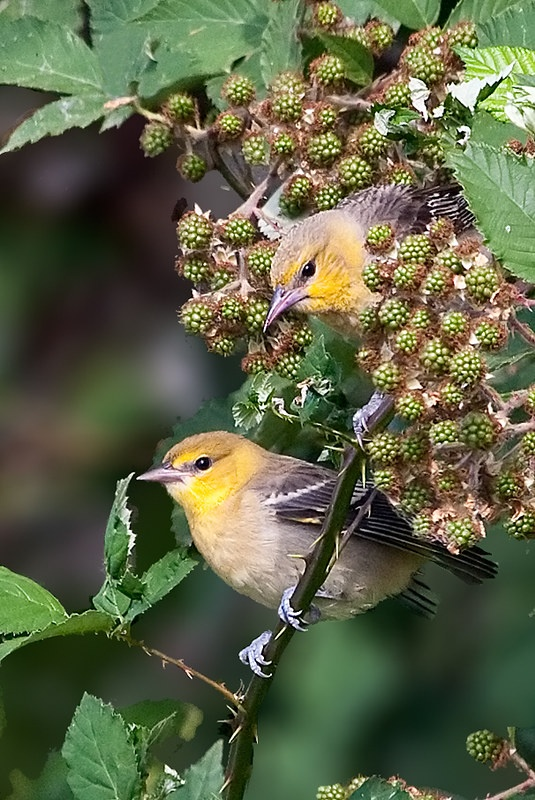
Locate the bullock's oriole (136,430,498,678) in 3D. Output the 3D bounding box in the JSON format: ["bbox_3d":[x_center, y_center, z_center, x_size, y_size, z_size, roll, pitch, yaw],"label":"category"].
[{"bbox_3d":[0.121,0.315,1.987,0.821,0.426,0.298,3,-21,-25],"label":"bullock's oriole"}]
